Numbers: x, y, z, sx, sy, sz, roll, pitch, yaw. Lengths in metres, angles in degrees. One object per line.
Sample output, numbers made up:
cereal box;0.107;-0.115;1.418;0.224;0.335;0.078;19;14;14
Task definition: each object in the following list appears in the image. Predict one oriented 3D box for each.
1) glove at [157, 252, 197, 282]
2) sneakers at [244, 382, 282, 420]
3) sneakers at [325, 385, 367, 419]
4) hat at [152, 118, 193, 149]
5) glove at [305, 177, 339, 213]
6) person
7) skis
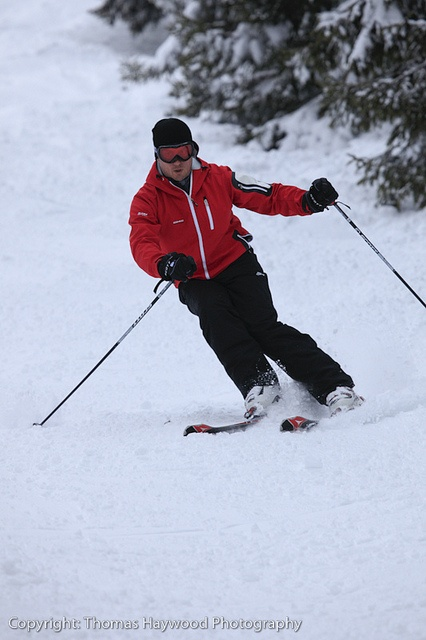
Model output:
glove;-0.162;-0.242;3.252;0.164;0.067;0.124;5;40;-3
sneakers;0.222;0.371;3.328;0.152;0.162;0.124;19;12;-46
sneakers;0.581;0.357;3.162;0.154;0.126;0.109;-4;-10;-7
hat;-0.191;-0.897;3.467;0.164;0.117;0.162;-8;10;34
glove;0.529;-0.613;3.590;0.154;0.174;0.174;2;-2;-5
person;0.106;-0.225;3.532;0.959;0.713;1.609;-14;70;-22
skis;0.181;0.468;3.142;0.387;0.040;0.053;-8;9;-24
